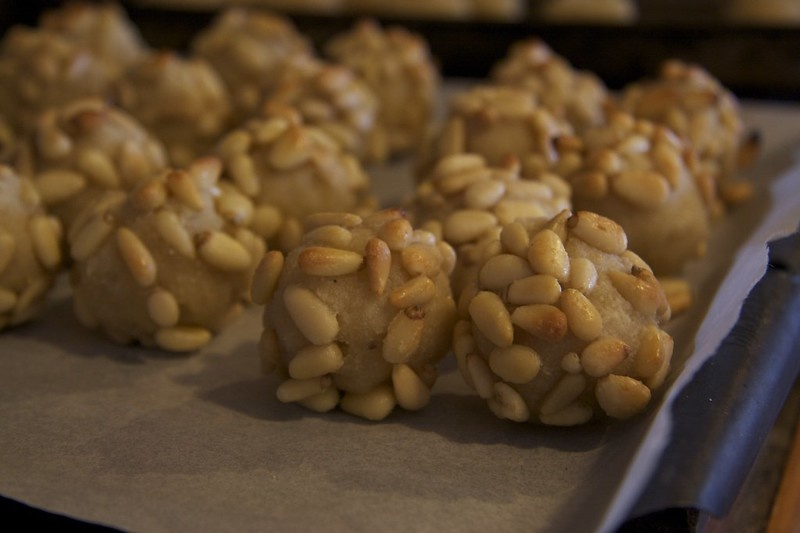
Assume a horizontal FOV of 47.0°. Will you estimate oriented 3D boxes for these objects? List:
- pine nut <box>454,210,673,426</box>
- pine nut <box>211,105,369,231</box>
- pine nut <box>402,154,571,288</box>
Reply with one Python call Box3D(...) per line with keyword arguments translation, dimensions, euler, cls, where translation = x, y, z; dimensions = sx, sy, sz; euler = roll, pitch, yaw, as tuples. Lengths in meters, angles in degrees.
Box3D(translation=(0.178, 0.072, 0.979), dimensions=(0.232, 0.095, 0.239), euler=(-2, 78, 0), cls="pine nut")
Box3D(translation=(-0.150, -0.108, 1.207), dimensions=(0.160, 0.057, 0.142), euler=(30, 39, -1), cls="pine nut")
Box3D(translation=(0.111, -0.091, 1.223), dimensions=(0.170, 0.065, 0.184), euler=(17, 57, 39), cls="pine nut")
